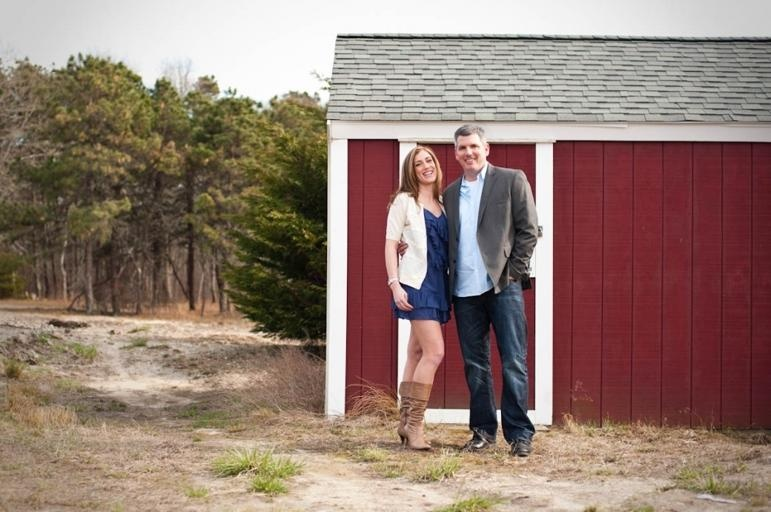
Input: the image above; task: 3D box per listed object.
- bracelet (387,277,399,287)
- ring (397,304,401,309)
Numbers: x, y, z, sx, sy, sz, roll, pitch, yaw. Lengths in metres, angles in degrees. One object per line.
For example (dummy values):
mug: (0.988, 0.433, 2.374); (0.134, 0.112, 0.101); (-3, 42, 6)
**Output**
bracelet: (0.136, 0.453, 17.862); (0.175, 0.131, 0.238); (-2, -1, -4)
ring: (0.237, 0.880, 17.773); (0.070, 0.071, 0.020); (0, 4, 10)
